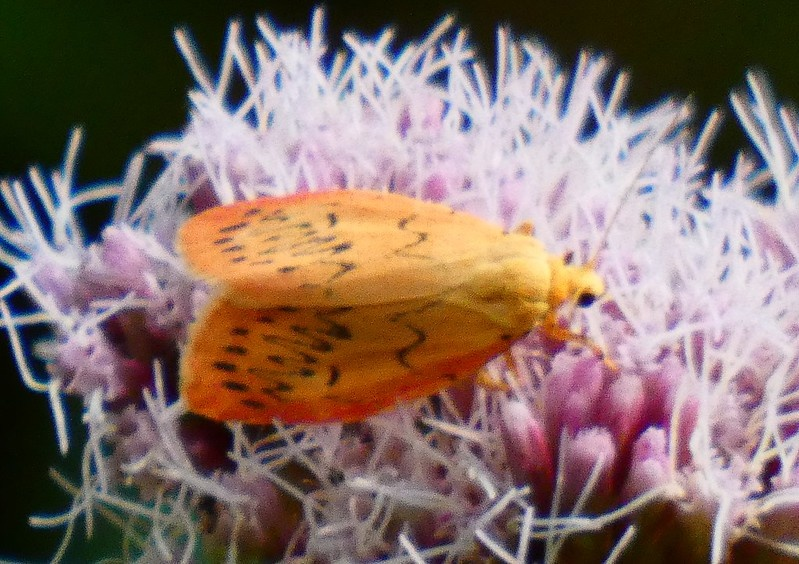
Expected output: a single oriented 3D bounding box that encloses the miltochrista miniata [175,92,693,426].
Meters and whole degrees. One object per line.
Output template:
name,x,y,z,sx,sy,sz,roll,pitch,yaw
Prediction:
miltochrista miniata,0.002,0.023,1.291,0.412,0.209,0.121,-3,-10,1
